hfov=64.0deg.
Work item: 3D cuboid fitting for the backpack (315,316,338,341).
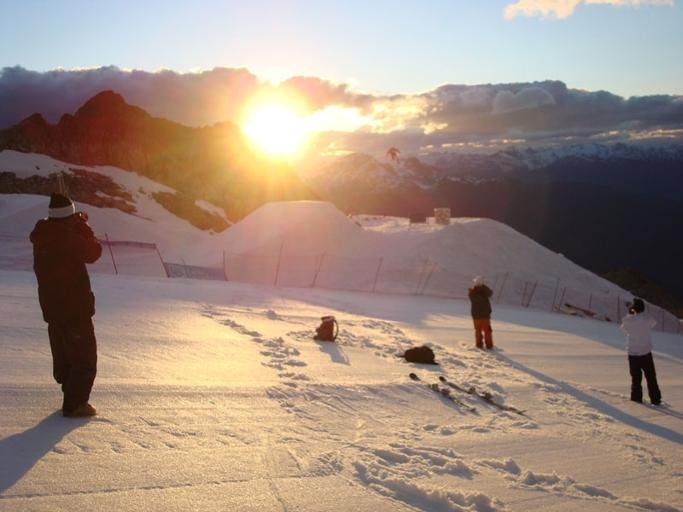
[{"bbox_3d":[-0.290,1.367,10.268,0.492,0.500,0.335,3,-3,-5],"label":"backpack"}]

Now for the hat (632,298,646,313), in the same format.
[{"bbox_3d":[4.885,0.790,8.931,0.196,0.275,0.255,0,-8,20],"label":"hat"}]

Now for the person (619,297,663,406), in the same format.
[{"bbox_3d":[4.925,1.524,8.901,0.744,1.507,0.774,11,7,28],"label":"person"}]

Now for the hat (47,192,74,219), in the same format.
[{"bbox_3d":[-2.929,-0.544,5.785,0.262,0.296,0.294,-1,10,-16],"label":"hat"}]

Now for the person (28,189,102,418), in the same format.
[{"bbox_3d":[-2.815,0.483,5.695,0.908,2.222,0.445,10,6,15],"label":"person"}]

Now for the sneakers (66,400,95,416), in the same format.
[{"bbox_3d":[-2.685,1.584,5.640,0.277,0.138,0.106,0,5,-26],"label":"sneakers"}]

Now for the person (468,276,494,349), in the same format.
[{"bbox_3d":[2.989,1.154,11.543,0.668,0.993,1.121,10,6,16],"label":"person"}]
